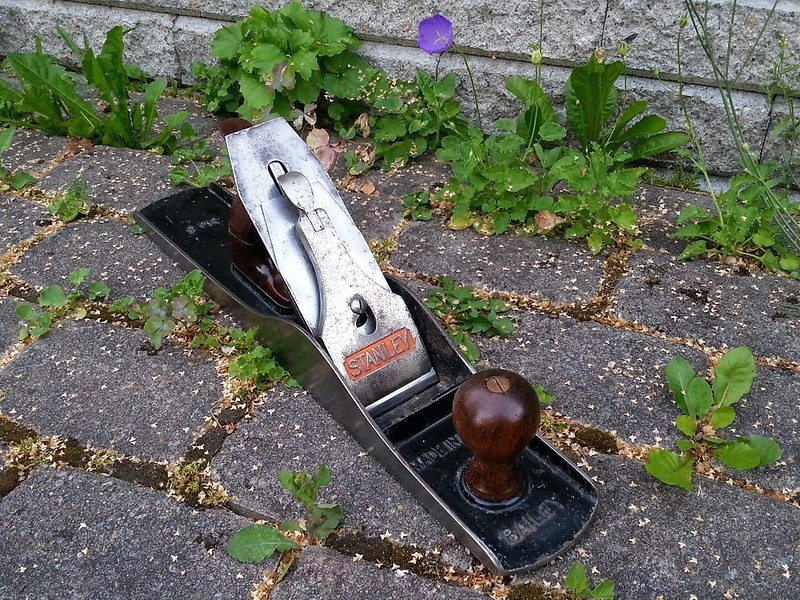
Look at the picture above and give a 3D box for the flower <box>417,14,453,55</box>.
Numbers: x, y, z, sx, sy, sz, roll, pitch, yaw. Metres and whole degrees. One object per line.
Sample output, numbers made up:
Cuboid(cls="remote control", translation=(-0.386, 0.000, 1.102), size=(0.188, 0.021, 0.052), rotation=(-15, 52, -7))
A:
Cuboid(cls="flower", translation=(0.182, -1.377, 3.607), size=(0.179, 0.123, 0.240), rotation=(0, 57, 7))
